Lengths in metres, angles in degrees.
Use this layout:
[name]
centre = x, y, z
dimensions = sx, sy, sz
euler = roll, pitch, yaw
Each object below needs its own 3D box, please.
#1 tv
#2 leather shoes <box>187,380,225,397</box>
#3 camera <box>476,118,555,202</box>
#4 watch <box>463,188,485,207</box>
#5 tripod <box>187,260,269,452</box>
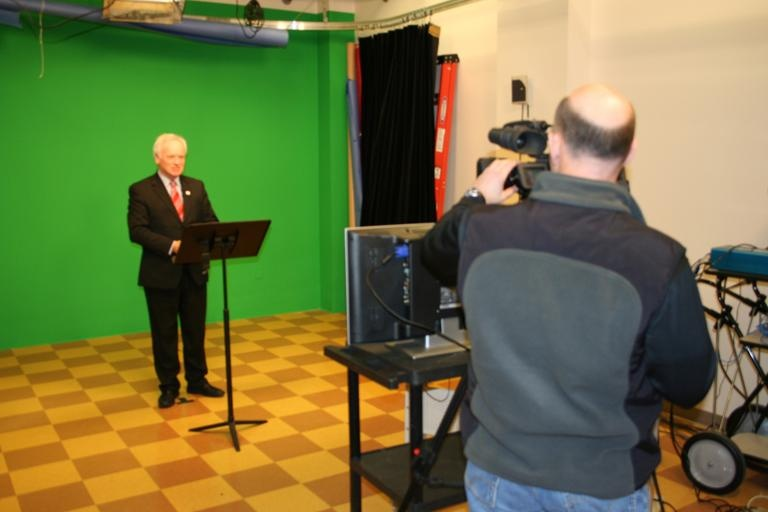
[tv]
centre = 0.110, 0.203, 3.636
dimensions = 0.763, 0.659, 0.264
euler = -2, 8, -23
[leather shoes]
centre = -1.599, 1.187, 5.795
dimensions = 0.397, 0.171, 0.135
euler = -1, -2, 10
[camera]
centre = 0.673, -0.492, 3.288
dimensions = 0.384, 0.412, 0.398
euler = 3, -2, -41
[watch]
centre = 0.410, -0.268, 2.964
dimensions = 0.064, 0.090, 0.038
euler = 4, -11, -2
[tripod]
centre = -1.303, 0.645, 5.301
dimensions = 0.606, 1.440, 1.253
euler = -2, 15, -4
